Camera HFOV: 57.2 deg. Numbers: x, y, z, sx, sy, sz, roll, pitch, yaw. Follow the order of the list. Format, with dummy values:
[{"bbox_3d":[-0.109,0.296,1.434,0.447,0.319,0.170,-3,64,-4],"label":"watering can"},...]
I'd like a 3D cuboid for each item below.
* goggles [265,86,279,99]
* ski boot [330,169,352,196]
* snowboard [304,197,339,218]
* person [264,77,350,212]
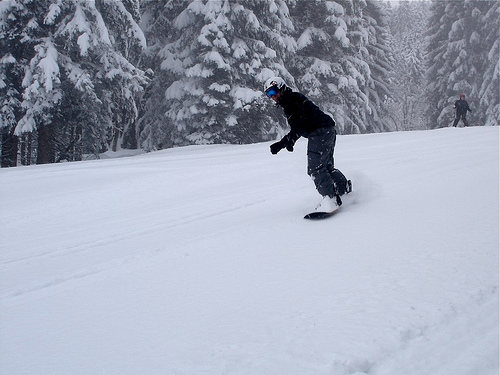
[{"bbox_3d":[0.301,-1.318,6.235,0.155,0.084,0.122,-34,-42,29],"label":"goggles"},{"bbox_3d":[1.357,-0.079,6.704,0.166,0.371,0.307,-30,17,41],"label":"ski boot"},{"bbox_3d":[1.017,0.279,6.262,0.190,0.272,0.619,-7,-6,43],"label":"snowboard"},{"bbox_3d":[0.874,-0.666,6.553,1.025,1.899,1.014,-3,9,14],"label":"person"}]
